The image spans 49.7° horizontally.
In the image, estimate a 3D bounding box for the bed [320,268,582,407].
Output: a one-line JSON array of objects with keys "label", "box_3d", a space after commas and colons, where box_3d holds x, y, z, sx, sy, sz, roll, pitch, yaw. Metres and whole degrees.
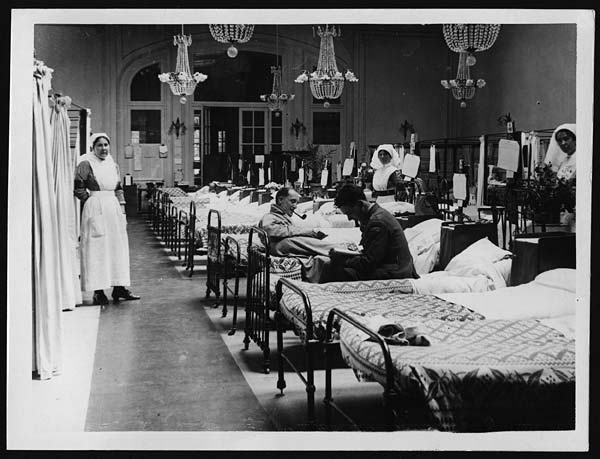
[{"label": "bed", "box_3d": [1.188, 0.594, 4.514, 1.490, 0.787, 0.974, -2, 3, -5]}]

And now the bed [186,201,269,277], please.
[{"label": "bed", "box_3d": [-0.934, 0.115, 9.068, 1.253, 0.971, 0.792, -4, 6, -18]}]

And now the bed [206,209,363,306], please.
[{"label": "bed", "box_3d": [-0.240, 0.243, 7.267, 1.494, 1.130, 1.081, 1, 1, -6]}]

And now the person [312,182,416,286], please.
[{"label": "person", "box_3d": [0.571, 0.322, 5.715, 0.858, 1.427, 0.559, -4, 12, 1]}]

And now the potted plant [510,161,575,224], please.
[{"label": "potted plant", "box_3d": [2.218, -0.342, 5.853, 0.393, 0.558, 0.453, -5, 8, -39]}]

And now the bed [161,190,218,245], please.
[{"label": "bed", "box_3d": [-2.121, -0.305, 12.516, 1.022, 0.774, 0.820, 0, 1, -17]}]

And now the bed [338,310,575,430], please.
[{"label": "bed", "box_3d": [1.031, 0.815, 3.757, 1.185, 0.538, 0.715, -2, 7, -10]}]

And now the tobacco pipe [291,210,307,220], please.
[{"label": "tobacco pipe", "box_3d": [-0.009, -0.199, 8.574, 0.195, 0.111, 0.118, 22, -2, -18]}]

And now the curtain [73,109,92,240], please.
[{"label": "curtain", "box_3d": [-2.798, -0.652, 8.274, 0.111, 1.660, 1.308, -2, 4, -22]}]

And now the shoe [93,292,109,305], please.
[{"label": "shoe", "box_3d": [-2.171, 0.745, 7.079, 0.175, 0.141, 0.168, -1, 7, -9]}]

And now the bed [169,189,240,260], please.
[{"label": "bed", "box_3d": [-1.680, -0.124, 11.412, 1.304, 0.985, 1.054, -2, 3, -16]}]

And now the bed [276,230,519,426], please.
[{"label": "bed", "box_3d": [0.894, 0.804, 5.518, 1.928, 1.288, 1.232, -4, -11, -14]}]

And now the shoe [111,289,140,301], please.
[{"label": "shoe", "box_3d": [-1.964, 0.728, 7.349, 0.319, 0.152, 0.123, -3, 6, -25]}]

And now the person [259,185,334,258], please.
[{"label": "person", "box_3d": [0.008, -0.060, 6.631, 0.838, 0.681, 0.507, 12, 7, 36]}]
